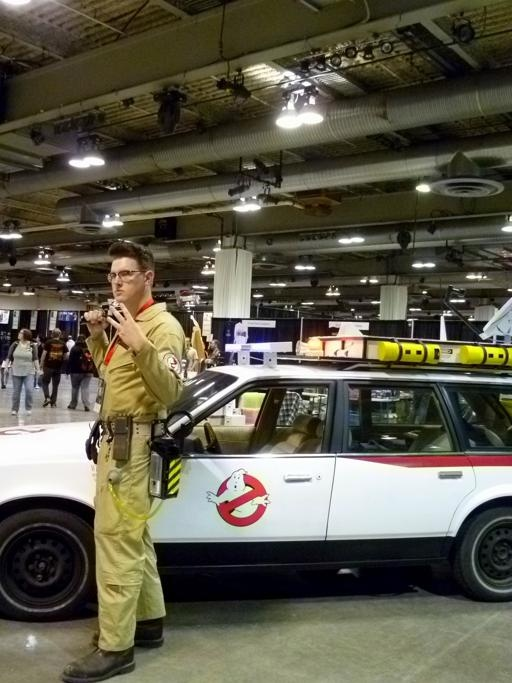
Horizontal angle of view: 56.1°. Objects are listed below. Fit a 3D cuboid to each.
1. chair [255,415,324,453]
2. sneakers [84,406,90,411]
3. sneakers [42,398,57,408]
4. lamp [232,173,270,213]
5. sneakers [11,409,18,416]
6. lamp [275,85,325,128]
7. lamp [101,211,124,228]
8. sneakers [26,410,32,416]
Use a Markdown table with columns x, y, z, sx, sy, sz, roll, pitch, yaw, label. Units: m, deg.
| x | y | z | sx | sy | sz | roll | pitch | yaw | label |
| --- | --- | --- | --- | --- | --- | --- | --- | --- | --- |
| 0.233 | 0.612 | 3.057 | 0.310 | 0.279 | 0.305 | 20 | -5 | -20 | chair |
| -4.806 | 1.880 | 13.601 | 0.112 | 0.158 | 0.164 | 2 | -10 | -8 | sneakers |
| -6.027 | 1.748 | 13.974 | 0.239 | 0.217 | 0.536 | 4 | -7 | -28 | sneakers |
| -0.149 | -3.489 | 11.315 | 1.014 | 0.630 | 0.682 | -2 | -21 | 12 | lamp |
| -5.833 | 1.680 | 11.568 | 0.131 | 0.088 | 0.214 | 10 | -11 | -5 | sneakers |
| 0.701 | -3.378 | 7.001 | 0.794 | 0.523 | 0.456 | -1 | 1 | 34 | lamp |
| -4.112 | -3.397 | 13.563 | 0.475 | 0.188 | 0.453 | -5 | -4 | 44 | lamp |
| -5.565 | 1.701 | 11.706 | 0.102 | 0.121 | 0.285 | 1 | -11 | -16 | sneakers |
